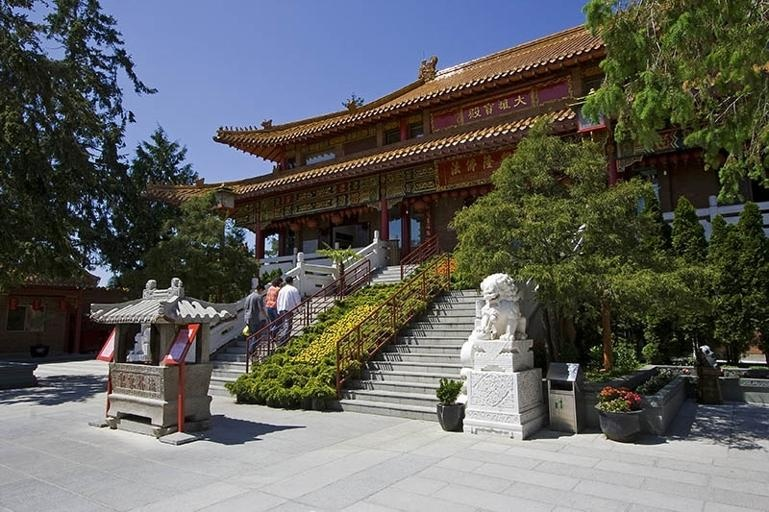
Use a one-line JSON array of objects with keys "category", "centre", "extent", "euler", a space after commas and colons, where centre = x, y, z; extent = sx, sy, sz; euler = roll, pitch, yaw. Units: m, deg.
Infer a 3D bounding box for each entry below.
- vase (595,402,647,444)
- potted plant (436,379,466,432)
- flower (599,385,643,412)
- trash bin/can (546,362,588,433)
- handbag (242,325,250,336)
[{"category": "vase", "centre": [4.854, 3.452, 11.362], "extent": [0.902, 0.641, 0.948], "euler": [-3, -10, 19]}, {"category": "potted plant", "centre": [1.429, 3.179, 11.948], "extent": [0.642, 0.986, 0.598], "euler": [13, -15, -30]}, {"category": "flower", "centre": [4.757, 2.899, 11.236], "extent": [0.540, 0.317, 0.554], "euler": [3, -7, -17]}, {"category": "trash bin/can", "centre": [3.923, 2.994, 11.888], "extent": [0.820, 1.303, 0.858], "euler": [2, -12, -4]}, {"category": "handbag", "centre": [-4.157, 2.227, 16.717], "extent": [0.133, 0.290, 0.371], "euler": [23, 5, -15]}]
